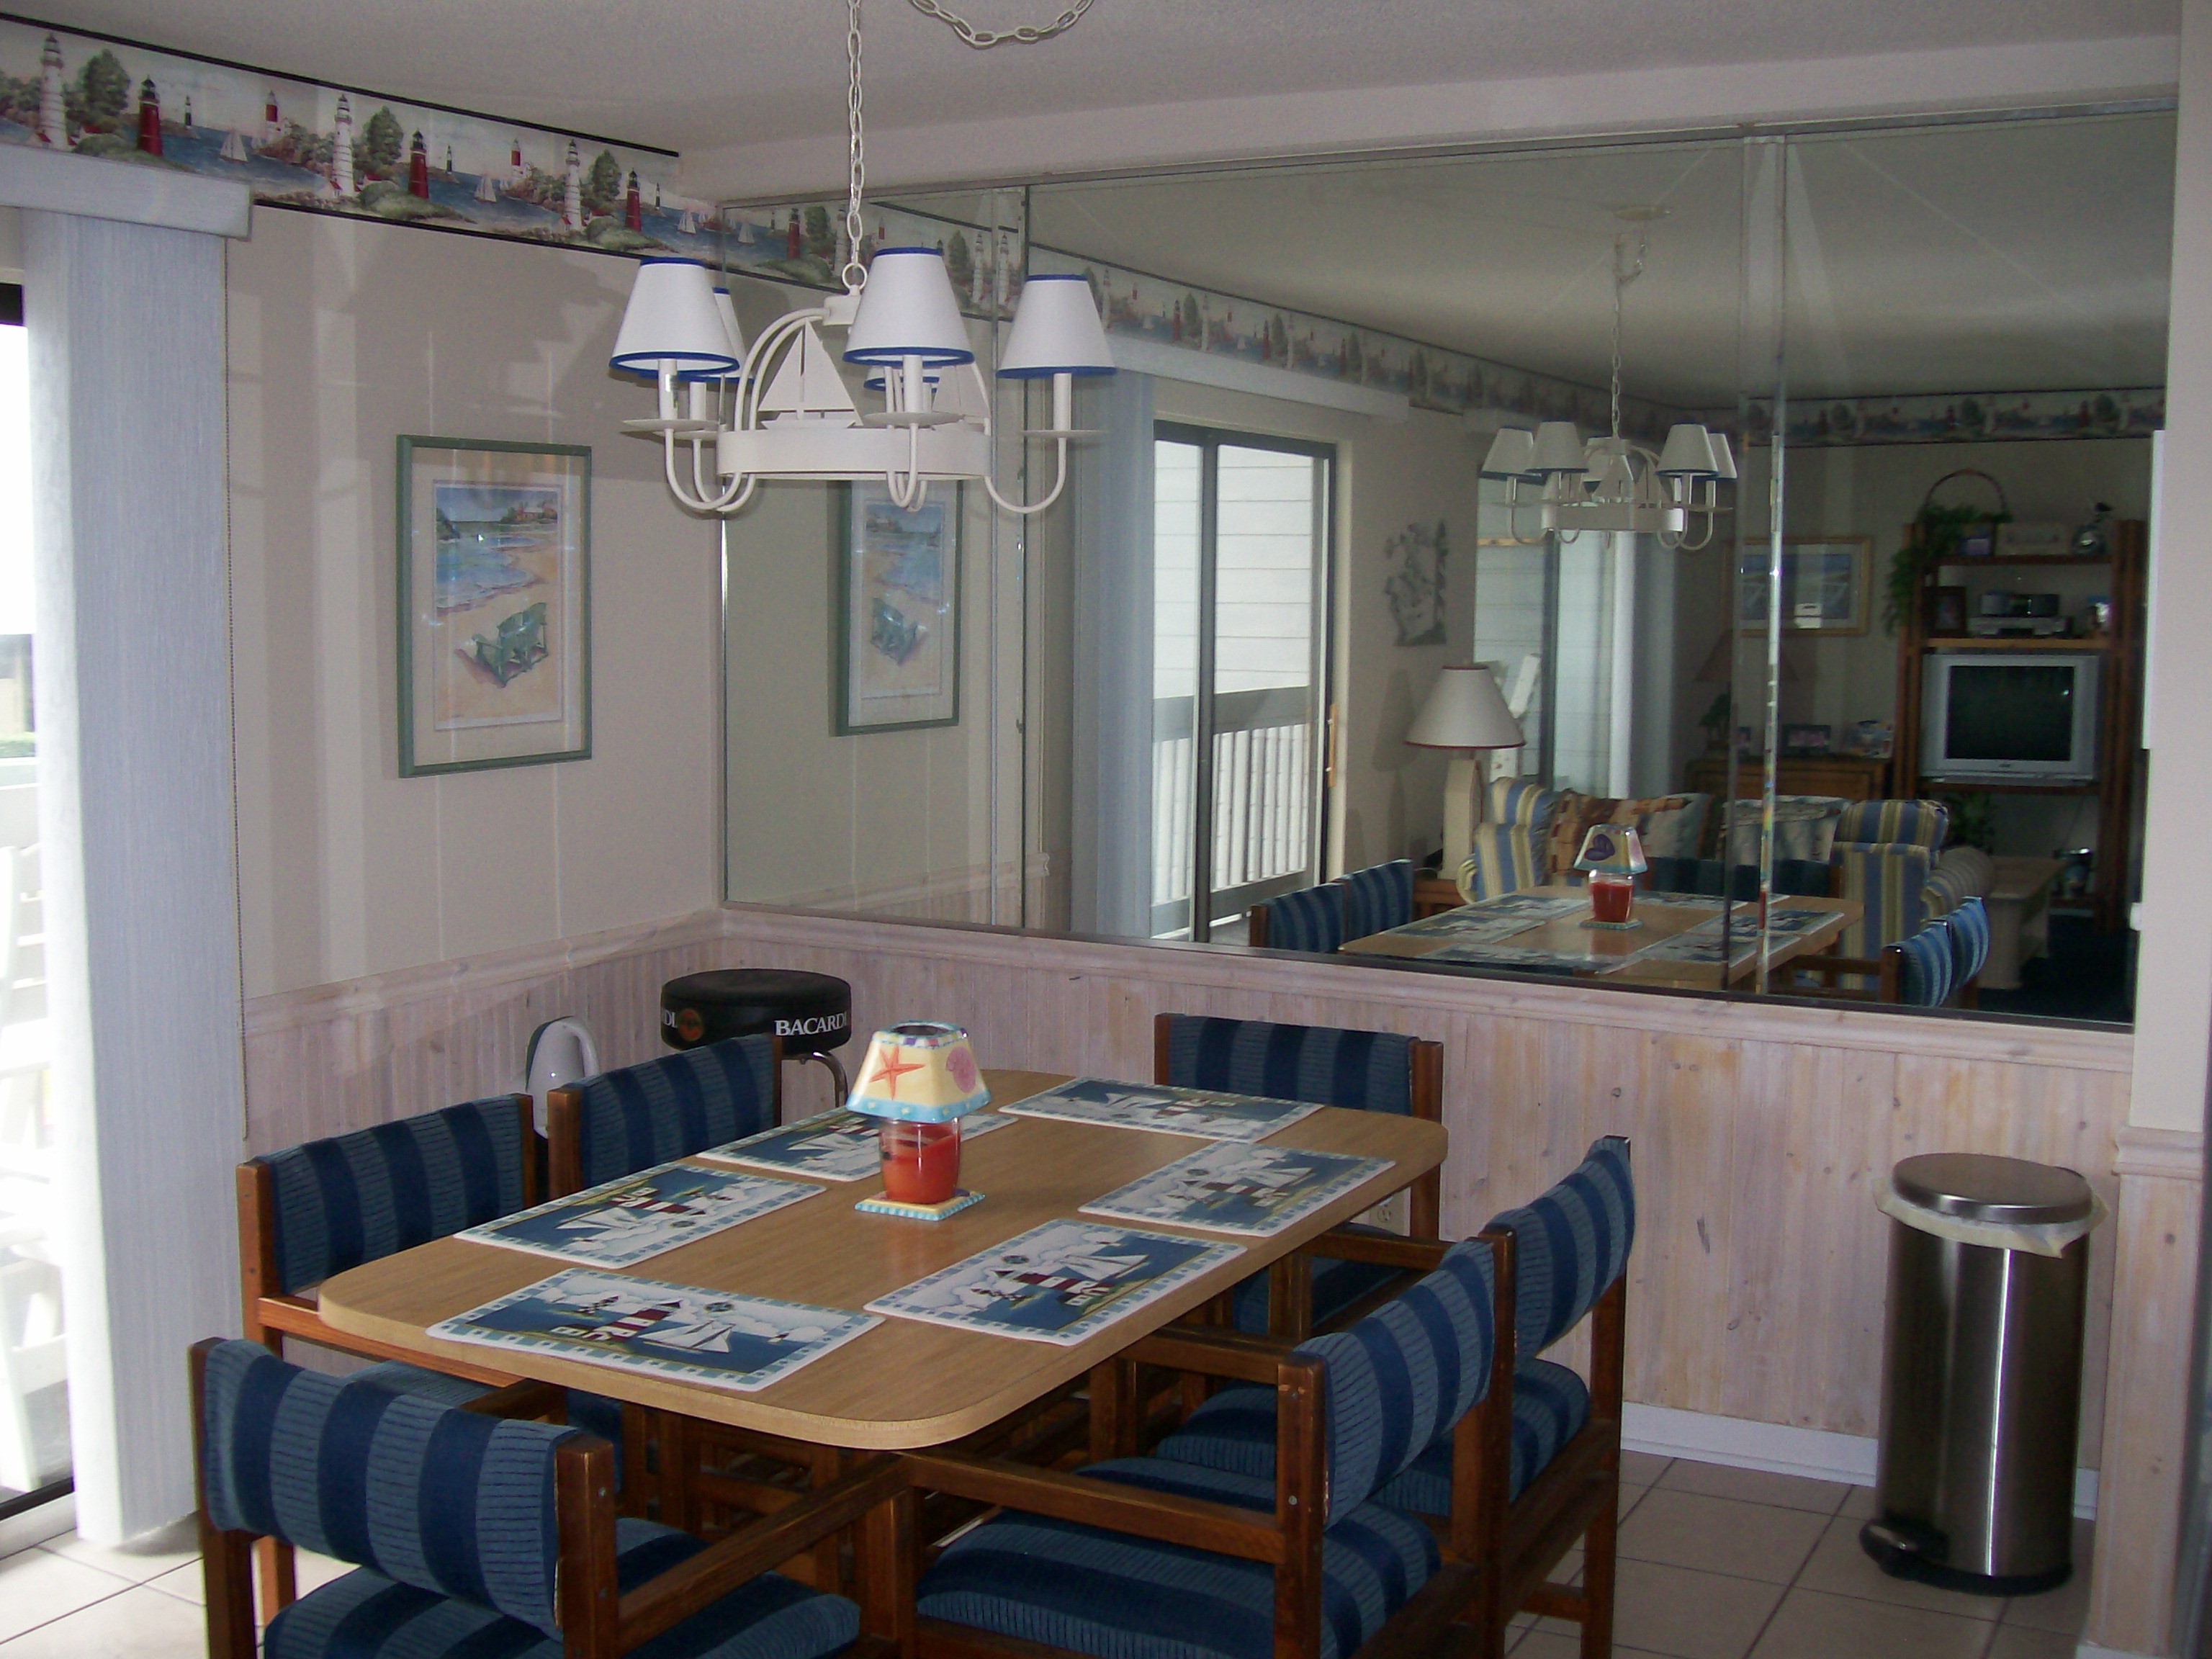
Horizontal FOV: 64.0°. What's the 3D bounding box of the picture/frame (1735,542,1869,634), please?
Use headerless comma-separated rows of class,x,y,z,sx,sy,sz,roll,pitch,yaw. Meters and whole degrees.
picture/frame,1.544,-0.532,3.899,0.213,0.166,0.017,3,6,15

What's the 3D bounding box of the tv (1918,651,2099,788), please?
tv,2.018,-0.226,3.870,0.241,0.309,0.403,-4,6,-42

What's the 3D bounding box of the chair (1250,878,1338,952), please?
chair,0.482,0.224,4.512,0.154,0.212,0.182,6,8,32

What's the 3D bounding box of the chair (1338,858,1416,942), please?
chair,0.657,0.194,4.415,0.231,0.287,0.169,2,-6,5

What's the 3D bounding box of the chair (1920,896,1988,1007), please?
chair,1.785,0.274,3.838,0.211,0.253,0.193,1,5,23

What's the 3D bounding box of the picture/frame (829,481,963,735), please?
picture/frame,-0.538,-0.611,4.782,0.402,0.745,0.030,1,-1,28

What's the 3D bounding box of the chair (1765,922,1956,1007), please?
chair,1.681,0.279,3.886,0.226,0.255,0.189,4,6,37

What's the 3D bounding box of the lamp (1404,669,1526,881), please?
lamp,0.869,-0.102,4.301,0.308,0.551,0.309,3,3,37

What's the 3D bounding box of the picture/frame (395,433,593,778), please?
picture/frame,-1.539,-0.561,4.461,0.089,0.807,0.611,3,10,26

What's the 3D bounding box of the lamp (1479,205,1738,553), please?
lamp,1.173,-1.024,4.065,0.594,0.750,0.510,2,10,14

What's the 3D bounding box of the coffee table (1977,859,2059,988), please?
coffee table,1.940,0.213,3.759,0.142,0.119,0.258,6,12,28

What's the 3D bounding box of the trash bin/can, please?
trash bin/can,1.768,1.114,3.598,0.380,0.836,0.262,4,11,28
